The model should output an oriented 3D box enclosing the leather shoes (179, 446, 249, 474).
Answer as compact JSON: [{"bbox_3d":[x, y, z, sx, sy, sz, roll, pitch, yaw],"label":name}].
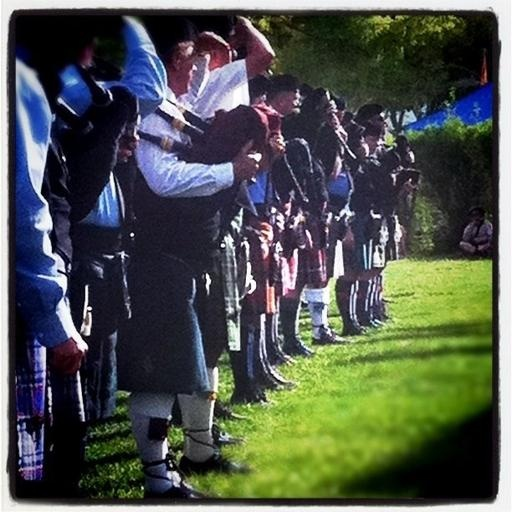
[{"bbox_3d":[-0.236,1.156,4.875,0.366,0.165,0.130,-1,-3,-15],"label":"leather shoes"}]

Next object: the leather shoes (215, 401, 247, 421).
[{"bbox_3d":[-0.149,0.913,4.973,0.202,0.096,0.069,7,-2,-7],"label":"leather shoes"}]
